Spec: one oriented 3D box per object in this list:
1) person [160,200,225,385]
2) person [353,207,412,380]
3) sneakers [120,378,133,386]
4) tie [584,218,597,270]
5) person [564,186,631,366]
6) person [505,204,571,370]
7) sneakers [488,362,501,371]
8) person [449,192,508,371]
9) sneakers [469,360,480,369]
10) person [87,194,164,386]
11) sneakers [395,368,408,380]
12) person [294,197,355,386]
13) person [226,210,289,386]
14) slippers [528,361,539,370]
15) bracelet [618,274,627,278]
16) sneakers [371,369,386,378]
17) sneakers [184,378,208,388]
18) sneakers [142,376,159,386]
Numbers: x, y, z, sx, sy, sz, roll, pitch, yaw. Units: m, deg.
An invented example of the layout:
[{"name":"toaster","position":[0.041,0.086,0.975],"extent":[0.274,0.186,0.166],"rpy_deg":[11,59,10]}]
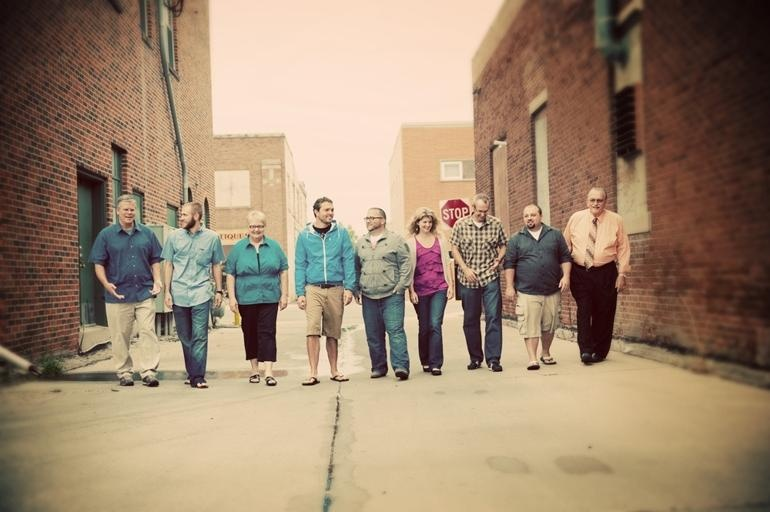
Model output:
[{"name":"person","position":[-2.436,0.498,7.749],"extent":[0.764,2.341,1.016],"rpy_deg":[-4,8,-18]},{"name":"person","position":[0.007,0.469,7.883],"extent":[0.722,2.248,0.978],"rpy_deg":[-3,8,-16]},{"name":"sneakers","position":[-3.203,1.565,7.475],"extent":[0.078,0.088,0.207],"rpy_deg":[1,-12,-39]},{"name":"tie","position":[2.655,-0.163,7.754],"extent":[0.150,0.655,0.045],"rpy_deg":[4,9,38]},{"name":"person","position":[2.705,0.277,7.748],"extent":[0.780,2.197,0.503],"rpy_deg":[1,7,16]},{"name":"person","position":[1.976,0.349,7.852],"extent":[0.847,2.003,0.536],"rpy_deg":[1,7,15]},{"name":"sneakers","position":[1.440,1.446,7.853],"extent":[0.154,0.113,0.211],"rpy_deg":[0,8,8]},{"name":"person","position":[1.289,0.382,8.183],"extent":[0.759,2.433,0.904],"rpy_deg":[-1,7,1]},{"name":"sneakers","position":[1.199,1.482,8.145],"extent":[0.151,0.093,0.077],"rpy_deg":[8,-11,-34]},{"name":"person","position":[-3.235,0.464,7.653],"extent":[0.816,2.436,0.801],"rpy_deg":[-4,8,-21]},{"name":"sneakers","position":[0.212,1.498,7.592],"extent":[0.153,0.145,0.235],"rpy_deg":[0,8,6]},{"name":"person","position":[-0.754,0.467,7.722],"extent":[0.773,2.440,0.952],"rpy_deg":[-2,7,-3]},{"name":"person","position":[-1.625,0.567,7.726],"extent":[0.775,2.233,0.769],"rpy_deg":[-3,7,-12]},{"name":"slippers","position":[1.904,1.401,7.727],"extent":[0.163,0.109,0.126],"rpy_deg":[0,8,10]},{"name":"bracelet","position":[2.980,0.245,7.622],"extent":[0.068,0.042,0.069],"rpy_deg":[-2,3,-30]},{"name":"sneakers","position":[-0.085,1.537,7.879],"extent":[0.185,0.074,0.110],"rpy_deg":[-1,8,2]},{"name":"sneakers","position":[-2.324,1.559,7.466],"extent":[0.132,0.098,0.357],"rpy_deg":[5,-10,-38]},{"name":"sneakers","position":[-2.930,1.568,7.492],"extent":[0.232,0.100,0.087],"rpy_deg":[-2,-4,18]}]
